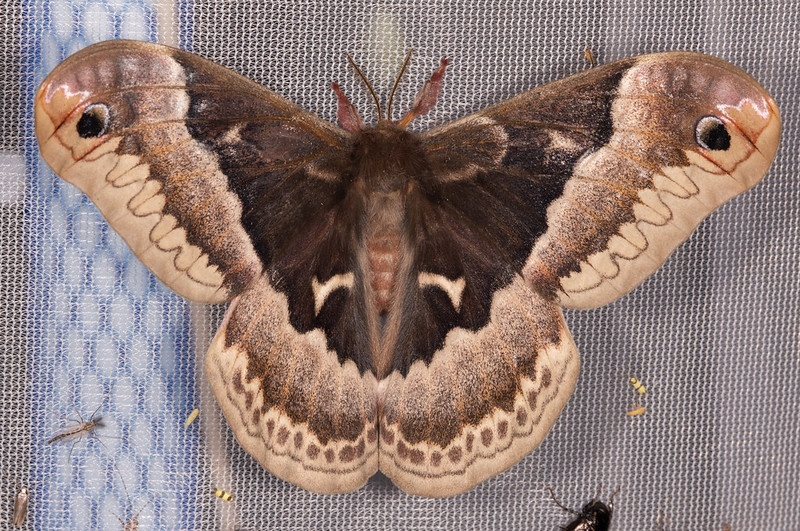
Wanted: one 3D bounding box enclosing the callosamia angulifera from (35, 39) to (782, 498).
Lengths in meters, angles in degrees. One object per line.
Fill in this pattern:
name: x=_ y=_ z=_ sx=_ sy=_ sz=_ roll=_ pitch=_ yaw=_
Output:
callosamia angulifera: x=-0.025 y=-0.003 z=3.705 sx=2.045 sy=0.526 sz=1.265 roll=0 pitch=-63 yaw=-2
